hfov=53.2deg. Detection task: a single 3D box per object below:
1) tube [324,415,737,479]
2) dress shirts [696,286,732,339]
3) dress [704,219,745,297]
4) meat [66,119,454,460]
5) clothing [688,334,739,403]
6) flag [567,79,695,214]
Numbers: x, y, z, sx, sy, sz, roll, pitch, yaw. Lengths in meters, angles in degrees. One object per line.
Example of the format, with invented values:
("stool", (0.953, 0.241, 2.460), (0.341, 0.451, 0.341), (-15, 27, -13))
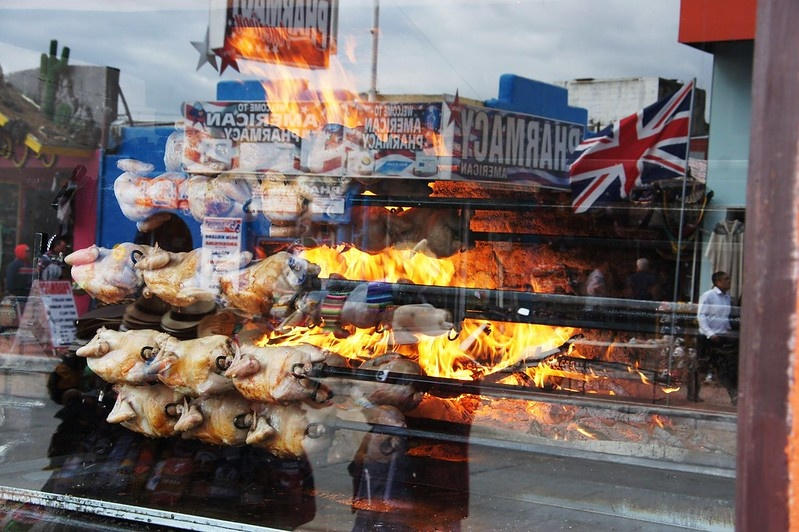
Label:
("tube", (0.546, 0.806, 3.592), (1.784, 0.169, 0.177), (0, -12, 17))
("dress shirts", (1.236, 0.173, 3.119), (0.203, 0.203, 0.115), (-7, 7, -42))
("dress", (1.246, -0.026, 3.053), (0.137, 0.278, 0.161), (-1, -13, 21))
("meat", (-0.688, 0.331, 4.414), (1.884, 1.297, 0.606), (3, 7, 14))
("clothing", (1.255, 0.419, 3.176), (0.267, 0.239, 0.065), (3, -5, 41))
("flag", (0.960, -0.487, 3.273), (0.560, 0.465, 0.062), (-8, 14, -19))
